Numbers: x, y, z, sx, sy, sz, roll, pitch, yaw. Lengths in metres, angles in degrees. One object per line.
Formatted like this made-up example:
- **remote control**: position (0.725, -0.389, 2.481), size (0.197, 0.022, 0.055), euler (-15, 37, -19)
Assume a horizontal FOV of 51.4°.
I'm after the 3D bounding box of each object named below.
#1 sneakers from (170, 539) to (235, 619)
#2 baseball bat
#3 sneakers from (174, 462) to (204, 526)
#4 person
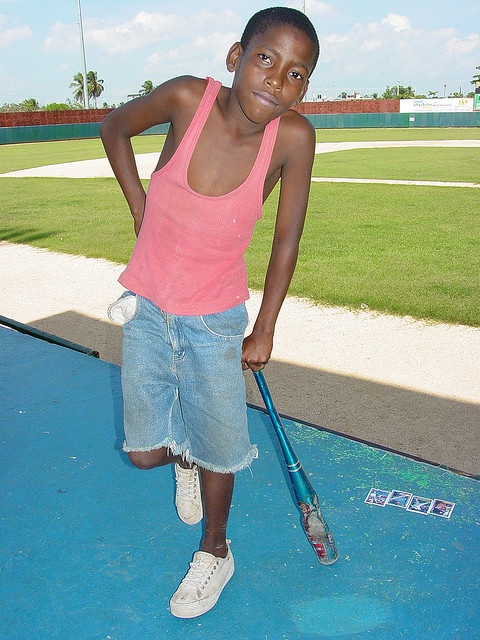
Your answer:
- **sneakers**: position (-0.102, 0.673, 1.290), size (0.069, 0.085, 0.200), euler (1, -4, 13)
- **baseball bat**: position (0.210, 0.551, 1.892), size (0.062, 0.560, 0.061), euler (-19, -13, 5)
- **sneakers**: position (-0.155, 0.548, 1.567), size (0.064, 0.090, 0.208), euler (-4, 41, 1)
- **person**: position (-0.117, -0.018, 1.308), size (0.578, 1.450, 0.528), euler (3, 14, 8)
